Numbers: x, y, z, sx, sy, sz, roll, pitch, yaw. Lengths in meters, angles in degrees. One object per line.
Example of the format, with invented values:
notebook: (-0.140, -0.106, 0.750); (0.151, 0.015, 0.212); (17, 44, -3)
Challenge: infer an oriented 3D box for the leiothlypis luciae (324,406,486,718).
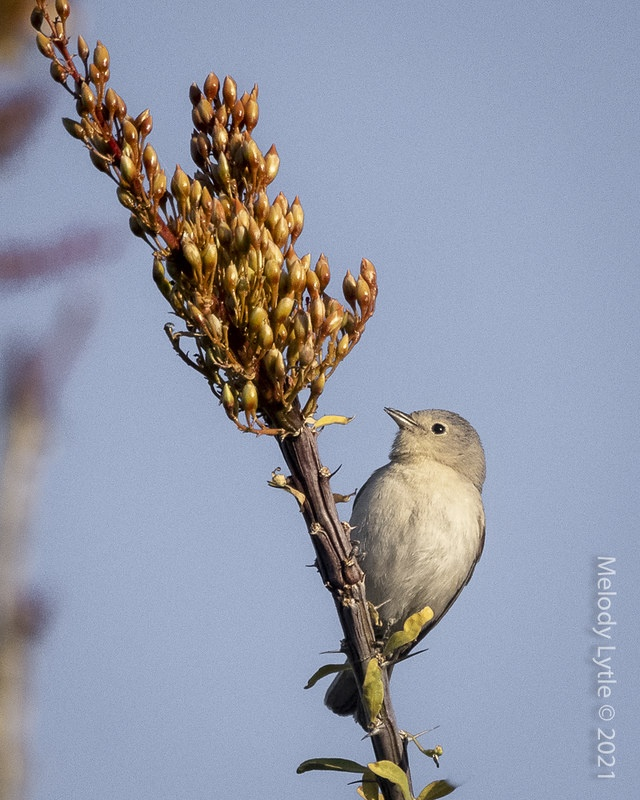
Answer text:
leiothlypis luciae: (0.358, 0.465, 5.749); (0.698, 0.746, 0.394); (-29, 32, -32)
